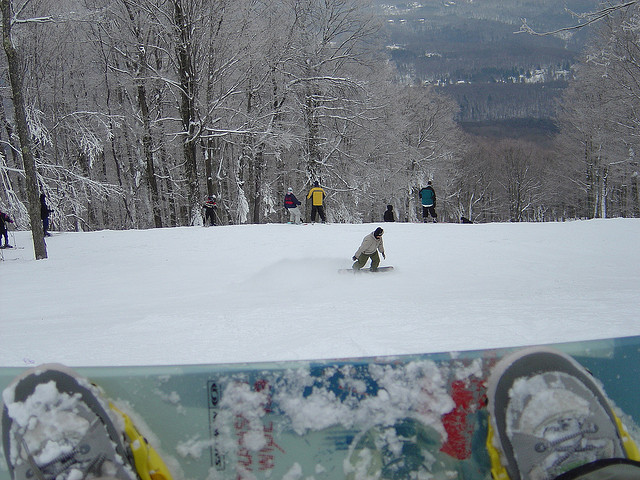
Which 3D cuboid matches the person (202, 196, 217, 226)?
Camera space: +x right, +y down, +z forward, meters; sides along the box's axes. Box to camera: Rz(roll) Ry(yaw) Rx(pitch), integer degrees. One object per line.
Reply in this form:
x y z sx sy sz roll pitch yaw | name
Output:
-3.940 -1.065 23.877 0.463 1.023 1.907 -2 6 -10 | person

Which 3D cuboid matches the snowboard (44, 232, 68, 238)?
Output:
-8.260 -0.138 20.576 0.278 0.019 0.913 -1 6 1 | snowboard

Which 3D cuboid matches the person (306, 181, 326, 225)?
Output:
-0.093 -1.287 23.094 0.644 1.481 2.084 -1 6 0 | person

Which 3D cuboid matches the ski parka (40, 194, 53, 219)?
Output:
-8.163 -1.035 19.689 0.273 0.288 0.738 -23 0 -28 | ski parka

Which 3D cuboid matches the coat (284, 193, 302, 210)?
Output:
-0.968 -1.383 23.244 0.488 0.530 0.485 -3 10 -7 | coat

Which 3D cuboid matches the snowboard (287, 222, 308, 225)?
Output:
-0.877 -0.566 22.287 0.500 0.044 1.610 -4 6 -19 | snowboard

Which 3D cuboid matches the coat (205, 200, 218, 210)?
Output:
-3.798 -1.238 23.149 0.466 0.336 0.397 -5 7 -33 | coat

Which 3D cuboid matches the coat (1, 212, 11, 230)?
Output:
-9.368 -0.613 19.691 0.164 0.527 0.318 -8 41 -26 | coat

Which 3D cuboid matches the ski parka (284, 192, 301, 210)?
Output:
-0.976 -1.418 23.324 0.488 0.560 0.647 -2 6 -3 | ski parka

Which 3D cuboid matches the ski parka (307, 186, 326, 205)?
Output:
-0.108 -1.545 22.878 0.516 0.598 0.492 -1 6 7 | ski parka

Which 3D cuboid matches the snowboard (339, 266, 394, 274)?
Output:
1.196 0.750 16.740 1.403 0.094 0.508 -2 6 -2 | snowboard

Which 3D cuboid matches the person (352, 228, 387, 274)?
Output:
1.292 0.274 16.830 0.812 1.575 0.444 3 39 -4 | person

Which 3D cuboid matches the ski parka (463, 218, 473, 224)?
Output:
5.410 -0.686 24.056 0.341 0.232 0.355 1 1 11 | ski parka
